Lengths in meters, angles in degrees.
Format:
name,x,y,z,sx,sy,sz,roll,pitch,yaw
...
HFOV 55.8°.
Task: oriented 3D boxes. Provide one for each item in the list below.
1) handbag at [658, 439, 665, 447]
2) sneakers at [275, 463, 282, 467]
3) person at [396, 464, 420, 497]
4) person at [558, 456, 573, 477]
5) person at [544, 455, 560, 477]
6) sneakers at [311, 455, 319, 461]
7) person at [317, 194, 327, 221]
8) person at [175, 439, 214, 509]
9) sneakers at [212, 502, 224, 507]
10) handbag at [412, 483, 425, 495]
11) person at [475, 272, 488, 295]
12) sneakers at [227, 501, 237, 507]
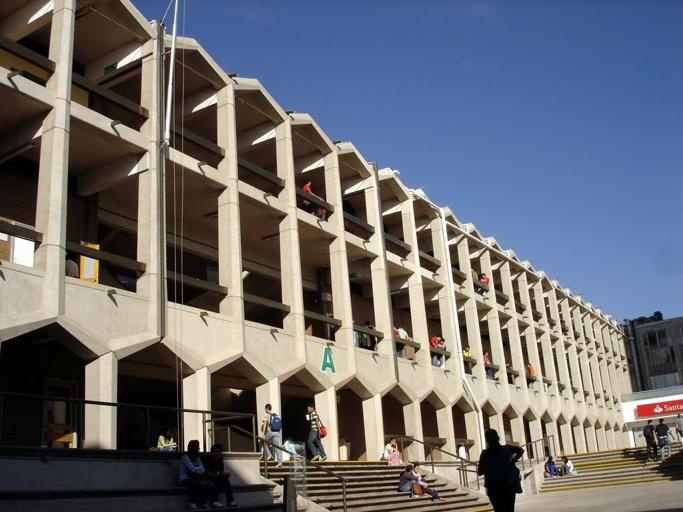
name,x,y,z,sx,sy,sz,roll,pitch,yaw
handbag,14.873,8.715,29.814,0.321,0.382,0.536,-15,-24,23
sneakers,-1.953,6.582,20.227,0.151,0.136,0.282,2,-24,-16
person,2.522,8.549,24.351,0.780,1.144,0.612,-6,-22,3
person,12.245,11.495,34.898,0.911,1.245,0.874,-11,-31,33
person,11.404,11.473,34.973,0.816,1.175,2.233,-11,-23,15
sneakers,-0.927,7.486,23.762,0.257,0.242,0.587,-5,-23,-1
person,-0.819,-2.135,30.750,0.273,0.925,0.680,2,-10,-18
person,-3.603,5.473,16.037,0.693,1.610,0.617,-22,-28,37
sneakers,-3.036,6.151,15.868,0.287,0.119,0.108,-9,-17,35
handbag,2.879,8.817,24.216,0.397,0.374,0.126,19,-51,-31
person,9.739,1.960,44.775,0.730,1.514,1.111,-1,-62,-14
sneakers,-2.725,6.244,16.113,0.232,0.172,0.287,-1,-23,-11
